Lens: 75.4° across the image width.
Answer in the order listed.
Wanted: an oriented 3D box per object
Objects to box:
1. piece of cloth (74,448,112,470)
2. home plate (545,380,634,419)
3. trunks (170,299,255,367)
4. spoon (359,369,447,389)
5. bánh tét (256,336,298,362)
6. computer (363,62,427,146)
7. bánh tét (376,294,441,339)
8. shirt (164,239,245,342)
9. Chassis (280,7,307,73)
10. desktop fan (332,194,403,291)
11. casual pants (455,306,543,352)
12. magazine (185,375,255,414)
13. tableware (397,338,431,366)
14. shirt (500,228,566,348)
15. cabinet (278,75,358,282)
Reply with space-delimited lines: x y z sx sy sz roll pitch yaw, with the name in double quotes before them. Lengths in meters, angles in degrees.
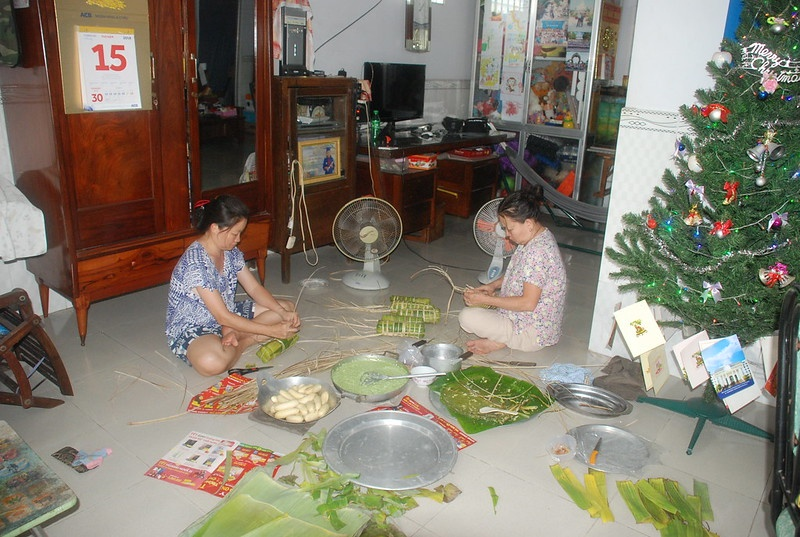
"piece of cloth" -1.612 1.003 2.705 0.097 0.029 0.089 -13 36 -26
"home plate" 1.113 0.801 3.151 0.523 0.055 0.534 11 9 14
"trunks" -1.301 0.433 3.580 0.377 0.163 0.436 25 35 36
"spoon" 0.022 0.676 3.197 0.550 0.026 0.164 -3 16 -3
"bánh tét" -0.854 0.549 3.583 0.115 0.079 0.237 19 35 37
"computer" -0.074 -1.766 5.473 0.260 0.736 1.016 19 30 36
"bánh tét" 0.068 0.372 3.923 0.339 0.107 0.337 4 36 8
"shirt" -1.307 0.161 3.474 0.311 0.504 0.529 18 28 11
"Chassis" -0.885 -1.959 4.413 0.311 0.528 0.200 -14 29 -27
"desktop fan" -0.297 -0.241 4.593 0.729 0.900 0.594 2 28 0
"casual pants" 0.694 0.435 3.701 0.399 0.119 0.365 17 18 -6
"magazine" -1.059 0.766 3.178 0.403 0.045 0.355 1 25 2
"tableware" 0.104 0.566 3.486 0.168 0.057 0.119 -24 31 -33
"shirt" 0.920 0.168 3.587 0.399 0.676 0.615 8 37 15
"cabinet" -0.905 -0.861 4.759 0.575 1.700 0.905 16 24 33
